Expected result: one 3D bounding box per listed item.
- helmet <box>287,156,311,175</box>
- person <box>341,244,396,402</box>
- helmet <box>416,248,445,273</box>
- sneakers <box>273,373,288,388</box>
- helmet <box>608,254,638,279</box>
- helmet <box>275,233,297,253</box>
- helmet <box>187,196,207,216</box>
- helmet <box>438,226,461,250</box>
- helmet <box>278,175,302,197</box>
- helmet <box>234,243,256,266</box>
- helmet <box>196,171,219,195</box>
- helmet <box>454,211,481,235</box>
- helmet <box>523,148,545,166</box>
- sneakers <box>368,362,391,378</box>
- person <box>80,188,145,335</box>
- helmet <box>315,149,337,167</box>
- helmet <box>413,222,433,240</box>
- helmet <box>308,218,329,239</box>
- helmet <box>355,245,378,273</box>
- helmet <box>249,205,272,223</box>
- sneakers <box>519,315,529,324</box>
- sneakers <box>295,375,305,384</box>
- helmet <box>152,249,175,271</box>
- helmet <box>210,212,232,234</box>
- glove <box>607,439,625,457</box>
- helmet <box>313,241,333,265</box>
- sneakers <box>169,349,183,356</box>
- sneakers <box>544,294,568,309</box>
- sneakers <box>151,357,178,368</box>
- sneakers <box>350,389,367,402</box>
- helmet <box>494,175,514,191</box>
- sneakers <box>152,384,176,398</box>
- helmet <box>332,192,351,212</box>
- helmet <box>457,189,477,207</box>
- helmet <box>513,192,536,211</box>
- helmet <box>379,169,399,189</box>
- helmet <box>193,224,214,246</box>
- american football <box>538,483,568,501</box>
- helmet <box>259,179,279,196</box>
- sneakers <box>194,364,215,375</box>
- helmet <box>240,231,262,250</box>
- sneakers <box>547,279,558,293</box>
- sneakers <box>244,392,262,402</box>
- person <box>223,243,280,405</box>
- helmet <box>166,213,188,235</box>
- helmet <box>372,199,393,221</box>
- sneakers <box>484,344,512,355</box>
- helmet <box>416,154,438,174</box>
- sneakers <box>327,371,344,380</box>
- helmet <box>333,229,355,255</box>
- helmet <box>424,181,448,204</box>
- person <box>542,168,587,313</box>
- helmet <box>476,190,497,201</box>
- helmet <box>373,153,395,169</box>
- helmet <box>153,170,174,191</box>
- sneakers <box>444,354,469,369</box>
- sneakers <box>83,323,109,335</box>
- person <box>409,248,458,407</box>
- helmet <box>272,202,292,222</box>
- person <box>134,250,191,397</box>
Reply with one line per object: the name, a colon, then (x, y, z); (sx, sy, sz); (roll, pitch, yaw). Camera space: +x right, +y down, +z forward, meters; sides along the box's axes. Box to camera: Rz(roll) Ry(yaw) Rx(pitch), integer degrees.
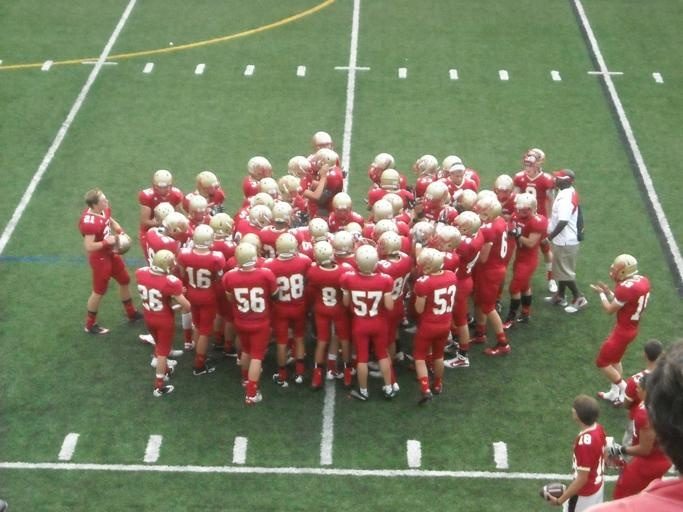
helmet: (-0.671, -1.370, 13.294); (0.335, 0.278, 0.255); (-12, 45, 18)
person: (0.355, 0.868, 11.464); (0.657, 2.115, 0.342); (-3, 20, 0)
helmet: (1.124, 0.063, 11.314); (0.361, 0.270, 0.325); (19, -13, 1)
sneakers: (-0.856, 1.690, 11.919); (0.102, 0.118, 0.261); (-6, 56, -25)
helmet: (3.656, 0.091, 11.310); (0.356, 0.345, 0.279); (6, 21, 29)
helmet: (-0.745, -0.183, 11.461); (0.220, 0.261, 0.220); (5, -15, 1)
helmet: (-2.077, -0.745, 12.373); (0.223, 0.238, 0.273); (1, 61, -13)
helmet: (1.451, -0.304, 11.639); (0.339, 0.319, 0.260); (8, 20, 34)
helmet: (-0.755, -1.056, 12.595); (0.334, 0.247, 0.308); (-3, -22, -5)
helmet: (-1.258, -0.048, 11.334); (0.237, 0.262, 0.293); (-6, 42, -7)
helmet: (-2.027, -1.148, 12.908); (0.386, 0.276, 0.368); (-2, -14, -17)
helmet: (1.708, -0.458, 11.803); (0.259, 0.339, 0.283); (-34, -8, 2)
helmet: (3.053, -1.578, 13.698); (0.320, 0.251, 0.288); (-16, 23, -34)
sneakers: (0.450, 1.561, 12.137); (0.086, 0.105, 0.269); (-15, 31, -22)
person: (-3.485, 0.156, 13.052); (1.153, 2.429, 0.894); (-1, 45, -15)
helmet: (-0.243, -1.526, 13.158); (0.315, 0.214, 0.263); (15, -5, -8)
helmet: (1.108, -0.376, 11.914); (0.294, 0.210, 0.230); (-2, 19, 2)
helmet: (-0.319, -0.390, 11.686); (0.228, 0.280, 0.263); (-2, -3, -3)
helmet: (0.324, 0.040, 11.202); (0.269, 0.289, 0.345); (0, 54, 2)
helmet: (-1.121, -0.595, 11.995); (0.293, 0.265, 0.211); (2, 39, 4)
sneakers: (2.706, 0.911, 12.867); (0.184, 0.108, 0.093); (5, 9, 13)
sneakers: (-0.592, 1.659, 11.918); (0.100, 0.046, 0.117); (2, 24, -3)
helmet: (-2.386, 0.047, 11.474); (0.302, 0.275, 0.180); (-10, 20, -18)
helmet: (-1.638, -0.486, 11.997); (0.305, 0.233, 0.233); (-36, 68, -22)
glove: (3.225, 2.237, 10.259); (0.159, 0.085, 0.210); (28, -20, -31)
helmet: (-0.246, -0.047, 11.418); (0.233, 0.241, 0.300); (2, 34, 2)
sneakers: (-2.396, 1.358, 12.474); (0.199, 0.125, 0.069); (-10, -7, -10)
sneakers: (3.280, 0.650, 13.333); (0.379, 0.158, 0.144); (12, 55, 21)
sneakers: (-2.554, 1.458, 12.159); (0.413, 0.129, 0.180); (-1, -27, 10)
sneakers: (0.227, 1.836, 11.719); (0.103, 0.123, 0.301); (2, 9, -31)
helmet: (2.398, -1.107, 12.906); (0.205, 0.213, 0.269); (7, 29, 10)
sneakers: (-2.424, 1.791, 11.781); (0.295, 0.114, 0.136); (-20, -8, -21)
helmet: (-0.005, -0.794, 12.353); (0.212, 0.219, 0.276); (2, 24, 3)
helmet: (1.773, -0.820, 12.262); (0.283, 0.258, 0.170); (-1, 20, 7)
helmet: (2.656, -0.799, 12.600); (0.226, 0.235, 0.296); (-10, -22, 1)
helmet: (0.689, -1.156, 12.875); (0.246, 0.265, 0.297); (5, 37, 6)
helmet: (-1.905, -0.307, 11.728); (0.234, 0.247, 0.300); (5, 21, -1)
american football: (2.366, 2.648, 9.749); (0.196, 0.139, 0.258); (-21, -18, -20)
helmet: (-1.090, -1.013, 12.824); (0.261, 0.262, 0.417); (-6, 19, -9)
sneakers: (-1.936, 1.565, 12.152); (0.278, 0.114, 0.122); (-13, 32, -23)
helmet: (-1.238, -0.244, 11.607); (0.258, 0.235, 0.191); (-3, 62, -28)
sneakers: (3.314, 0.441, 13.591); (0.096, 0.101, 0.256); (-6, 37, 14)
sneakers: (-1.187, 1.881, 11.611); (0.105, 0.105, 0.240); (38, 36, 25)
person: (-1.156, 0.862, 11.499); (0.667, 2.126, 0.445); (-9, 20, -15)
helmet: (-2.315, -0.457, 12.067); (0.331, 0.229, 0.261); (19, -6, -19)
helmet: (0.564, -0.653, 12.112); (0.239, 0.299, 0.312); (15, 54, 8)
sneakers: (2.206, 1.309, 12.349); (0.396, 0.156, 0.145); (-1, 23, 3)
helmet: (1.303, -1.405, 13.260); (0.328, 0.241, 0.259); (22, -21, 6)
sneakers: (-0.105, 1.618, 12.051); (0.261, 0.089, 0.108); (-2, -29, -38)
helmet: (0.035, -0.202, 11.581); (0.300, 0.323, 0.311); (0, 15, 7)
helmet: (1.340, -0.928, 12.519); (0.315, 0.283, 0.239); (15, 55, -22)
person: (3.427, -0.215, 13.162); (0.598, 1.912, 0.874); (1, 20, 13)
helmet: (2.041, -0.881, 12.231); (0.186, 0.181, 0.197); (0, -3, 37)
helmet: (0.618, -1.468, 13.169); (0.330, 0.228, 0.257); (-13, -17, -6)
helmet: (-2.682, -1.169, 13.061); (0.288, 0.293, 0.359); (3, 40, -21)
sneakers: (1.614, 1.443, 12.287); (0.438, 0.263, 0.153); (2, 9, 4)
sneakers: (-3.601, 1.050, 12.710); (0.380, 0.145, 0.139); (2, 47, -7)
person: (1.171, 0.882, 11.465); (0.380, 2.023, 0.640); (13, 25, 38)
helmet: (-0.822, -0.608, 11.807); (0.216, 0.223, 0.280); (5, 23, 2)
person: (-2.377, 0.851, 11.682); (0.618, 1.931, 0.528); (-8, 20, -13)
